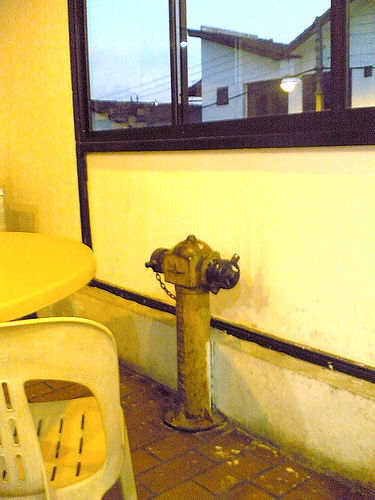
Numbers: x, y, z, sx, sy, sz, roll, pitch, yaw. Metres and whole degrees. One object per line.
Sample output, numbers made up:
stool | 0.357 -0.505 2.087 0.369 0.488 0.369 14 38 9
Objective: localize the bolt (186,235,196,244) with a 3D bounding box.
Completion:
bolt | 0.017 -0.053 2.217 0.049 0.036 0.068 -2 9 -1

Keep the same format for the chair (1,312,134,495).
chair | -0.287 0.308 1.068 0.229 0.441 0.449 -4 9 -17

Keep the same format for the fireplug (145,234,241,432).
fireplug | 0.032 0.431 2.346 0.592 1.033 0.312 6 10 42
